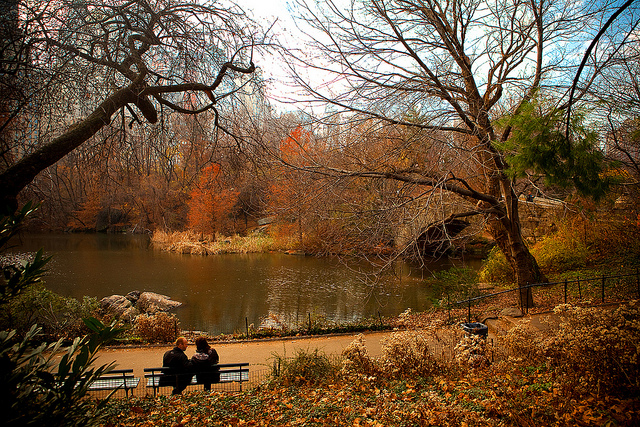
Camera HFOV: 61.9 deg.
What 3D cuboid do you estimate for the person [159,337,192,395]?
[{"bbox_3d":[-3.177,3.335,11.710,0.665,1.194,0.462,1,-9,-18],"label":"person"}]

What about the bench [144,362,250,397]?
[{"bbox_3d":[-2.599,3.772,11.674,2.075,0.856,0.689,5,29,-11],"label":"bench"}]

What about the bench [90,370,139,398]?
[{"bbox_3d":[-4.456,3.702,11.674,0.919,0.652,2.451,2,-11,-19],"label":"bench"}]

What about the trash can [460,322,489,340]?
[{"bbox_3d":[3.683,2.725,12.613,0.393,0.426,0.468,-2,-6,-27],"label":"trash can"}]
